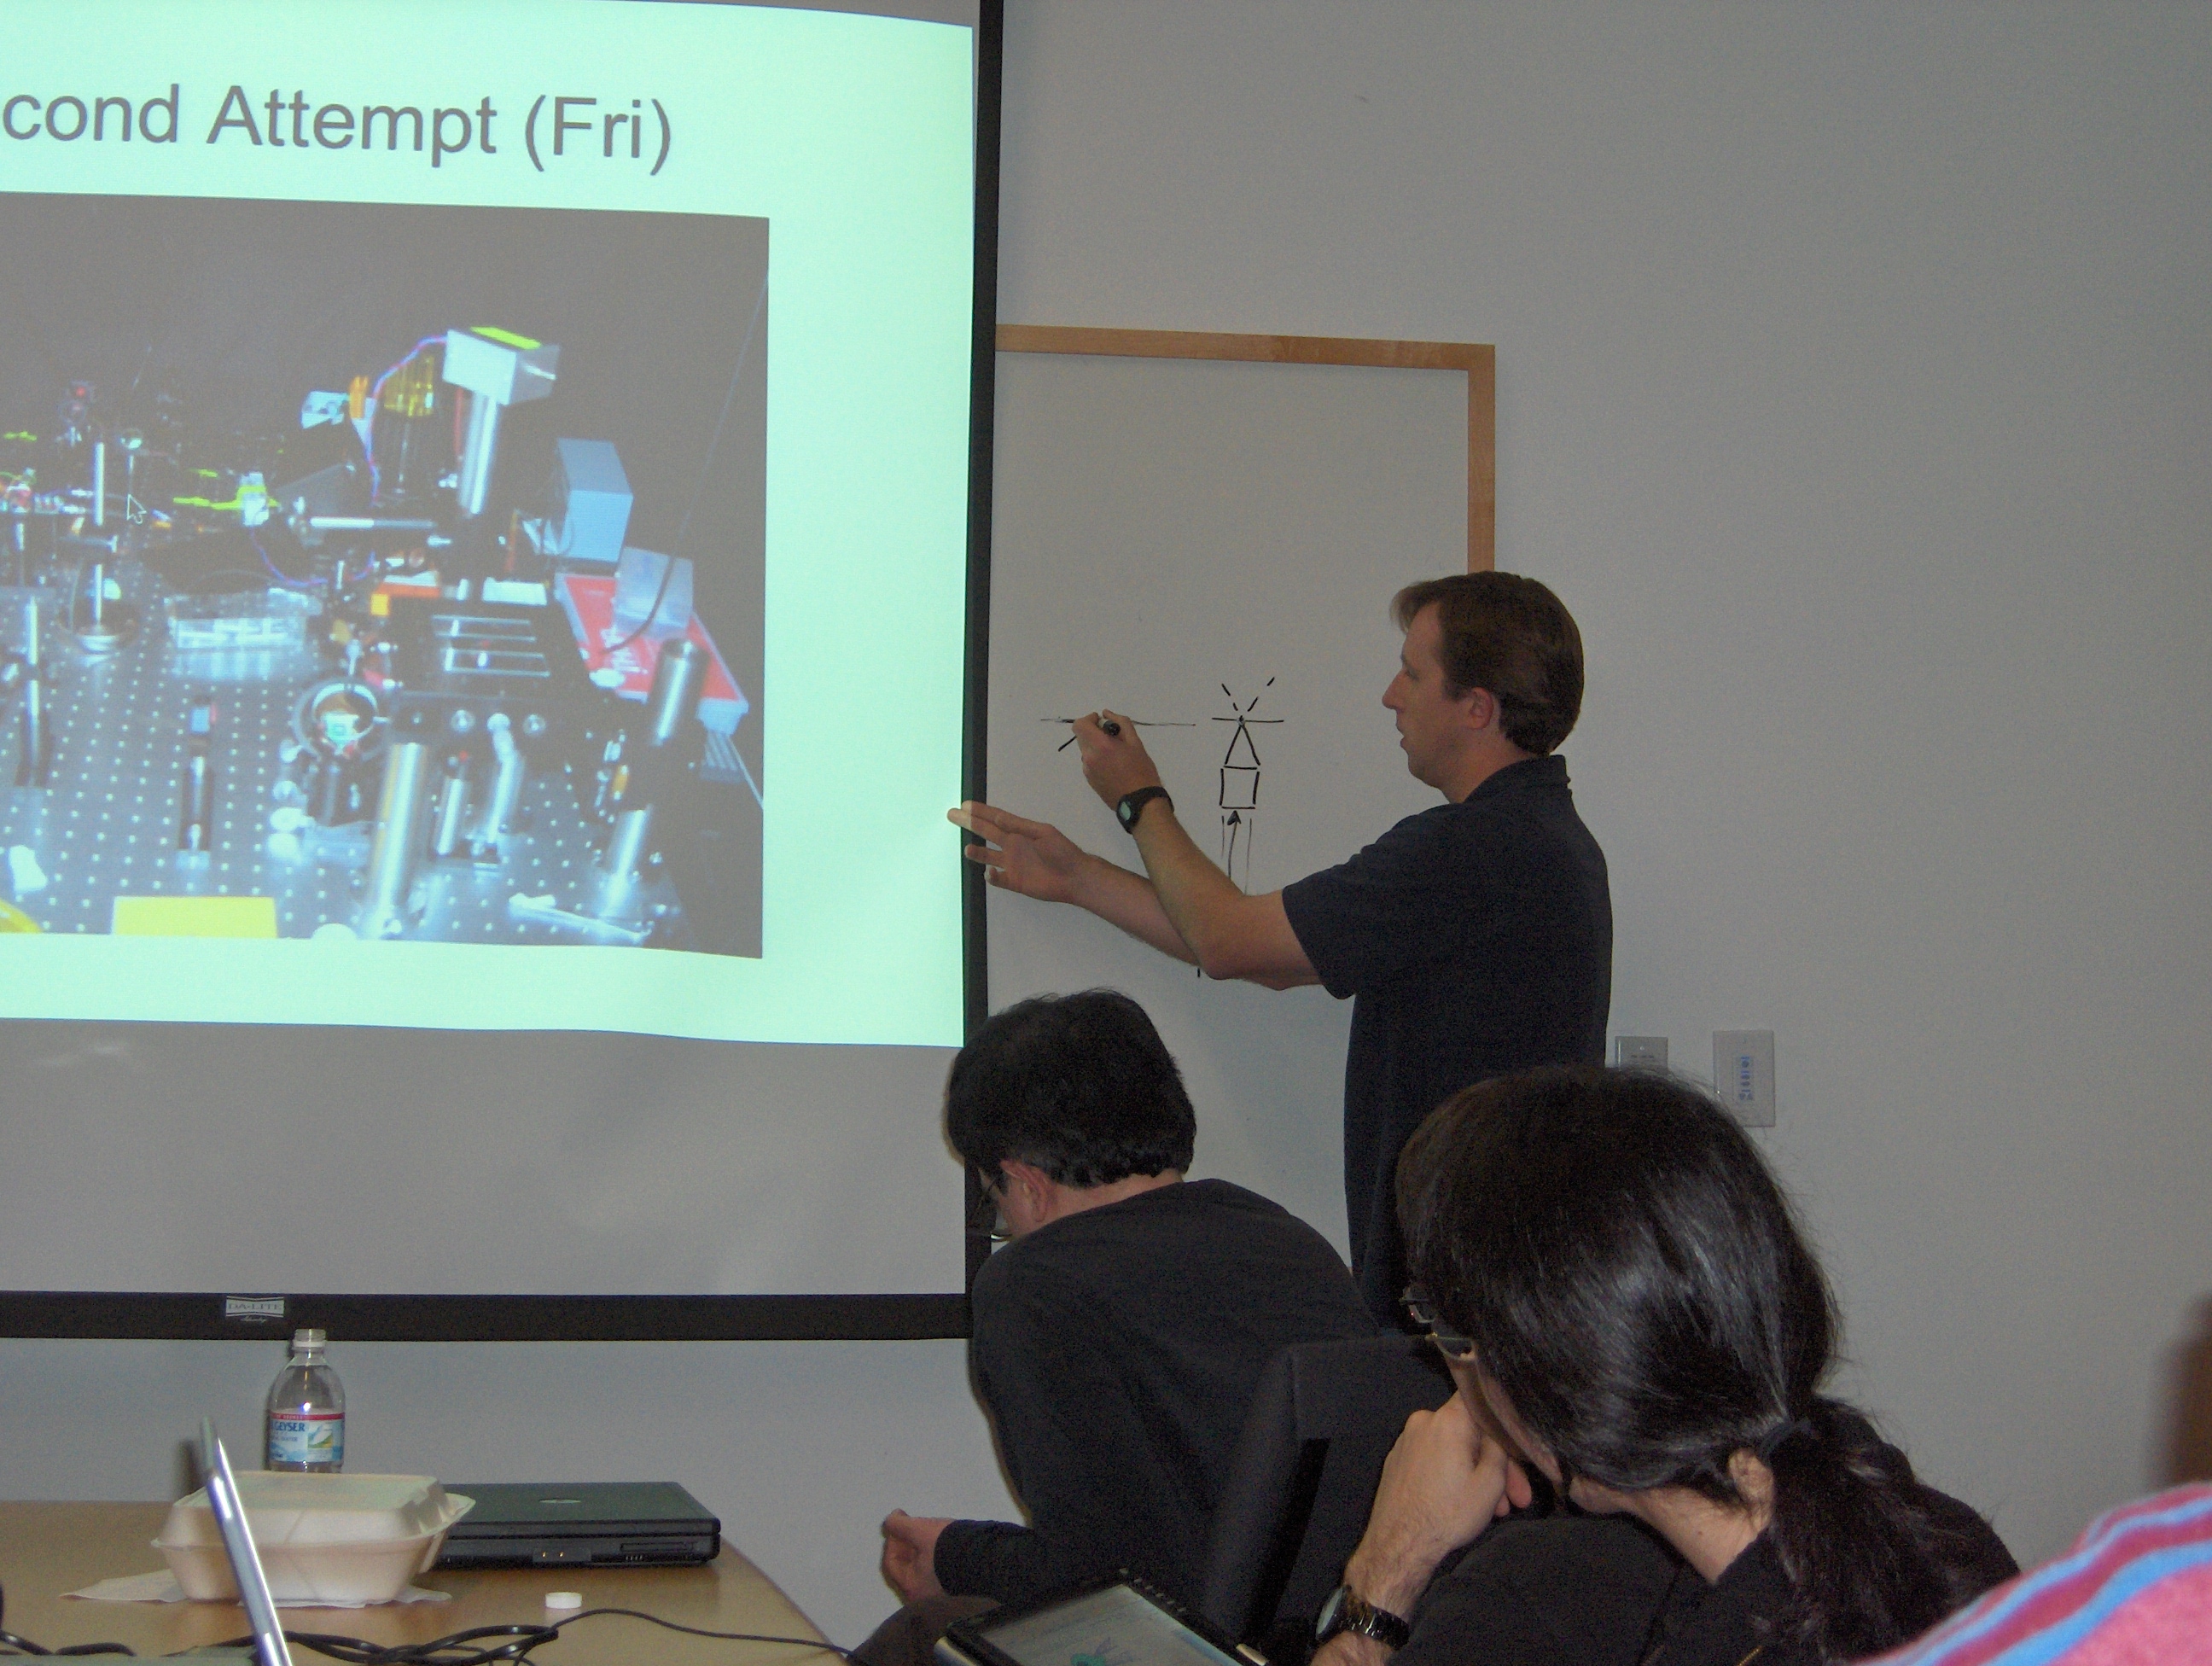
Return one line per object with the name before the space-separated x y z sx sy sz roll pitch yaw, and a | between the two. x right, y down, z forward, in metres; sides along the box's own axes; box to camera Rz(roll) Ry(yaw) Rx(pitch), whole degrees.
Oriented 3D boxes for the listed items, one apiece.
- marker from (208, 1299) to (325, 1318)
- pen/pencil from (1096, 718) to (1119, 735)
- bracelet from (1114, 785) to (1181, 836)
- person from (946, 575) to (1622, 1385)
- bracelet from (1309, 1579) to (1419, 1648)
marker | -1.163 0.667 2.731 0.136 0.036 0.020 1 5 -9
pen/pencil | 0.005 -0.163 2.951 0.025 0.020 0.034 -2 24 -18
bracelet | 0.055 -0.046 2.944 0.081 0.055 0.089 -15 -24 -39
person | 0.299 0.468 3.008 0.801 1.651 0.521 -2 8 2
bracelet | 0.217 0.664 1.647 0.053 0.036 0.057 12 26 -12
